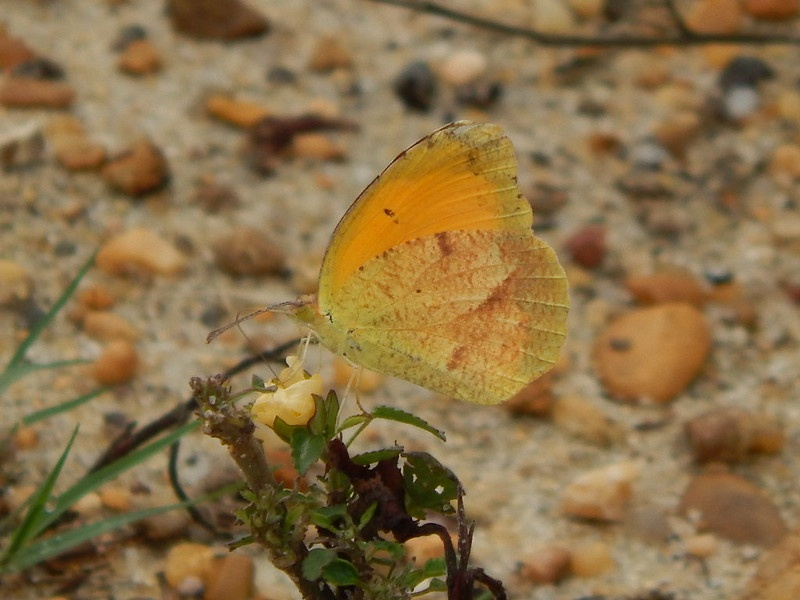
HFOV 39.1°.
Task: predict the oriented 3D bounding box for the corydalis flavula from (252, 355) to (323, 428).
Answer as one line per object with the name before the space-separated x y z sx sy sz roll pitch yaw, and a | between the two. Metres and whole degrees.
corydalis flavula | -0.204 0.190 2.284 0.145 0.144 0.096 -18 -58 31
